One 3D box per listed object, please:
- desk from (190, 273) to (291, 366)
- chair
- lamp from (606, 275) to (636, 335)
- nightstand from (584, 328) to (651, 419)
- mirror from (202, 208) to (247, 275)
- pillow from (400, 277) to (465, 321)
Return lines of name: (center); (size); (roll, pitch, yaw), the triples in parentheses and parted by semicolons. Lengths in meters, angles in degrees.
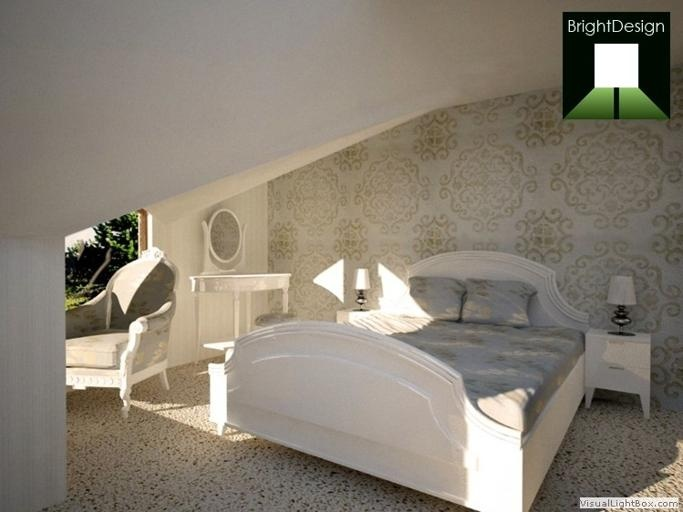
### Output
desk: (-1.131, 0.740, 5.475); (0.768, 1.033, 1.330); (-1, -1, 33)
chair: (-1.826, 0.557, 4.275); (0.854, 1.181, 0.854); (3, 3, 11)
lamp: (2.233, 0.387, 4.175); (0.205, 0.476, 0.300); (5, 10, 31)
nightstand: (2.202, 0.905, 4.168); (0.447, 0.618, 0.334); (2, 13, 32)
mirror: (-1.280, -0.163, 5.818); (0.049, 0.739, 0.636); (0, 2, 39)
pillow: (0.844, 0.382, 4.653); (0.364, 0.122, 0.407); (1, 42, 10)
